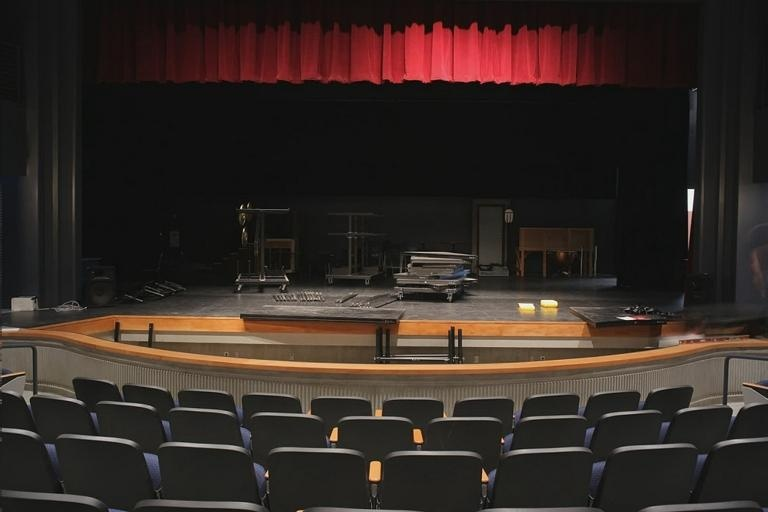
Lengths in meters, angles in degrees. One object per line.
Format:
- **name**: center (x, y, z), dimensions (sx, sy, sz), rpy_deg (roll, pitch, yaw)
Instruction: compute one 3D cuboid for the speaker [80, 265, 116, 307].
- **speaker**: center (-4.416, 0.459, 10.303), dimensions (0.508, 0.624, 0.306), rpy_deg (0, 3, -15)
